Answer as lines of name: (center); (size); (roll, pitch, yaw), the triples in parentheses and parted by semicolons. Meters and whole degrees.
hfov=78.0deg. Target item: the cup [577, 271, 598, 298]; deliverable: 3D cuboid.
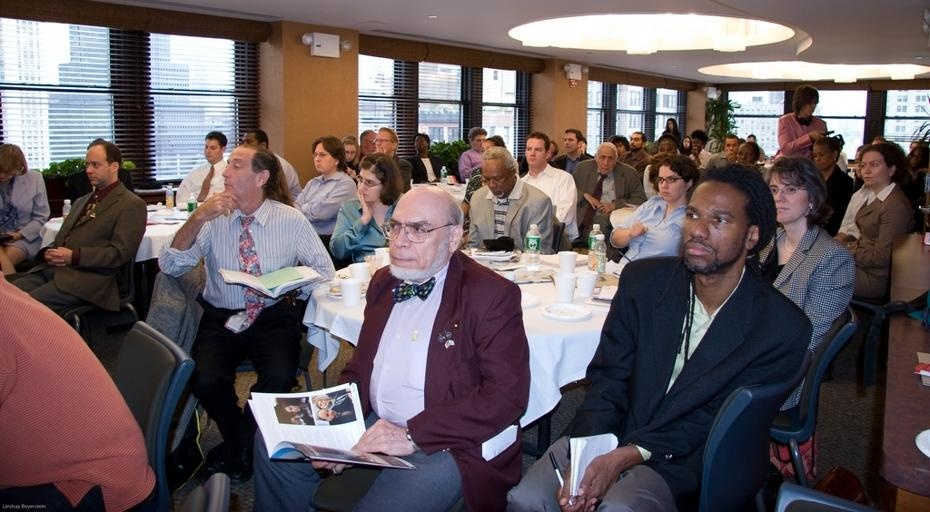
cup: (0.803, 0.192, 3.807); (0.160, 0.162, 0.157); (-1, 3, 0)

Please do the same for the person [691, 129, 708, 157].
person: (4.680, -2.273, 11.595); (0.282, 0.507, 1.061); (3, 11, 20)

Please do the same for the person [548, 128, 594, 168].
person: (1.744, -1.648, 9.099); (0.408, 0.710, 0.781); (-5, 12, -36)

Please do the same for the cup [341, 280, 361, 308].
cup: (-0.725, 0.230, 3.674); (0.157, 0.159, 0.159); (-1, -1, 0)

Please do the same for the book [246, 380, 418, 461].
book: (-0.756, 0.826, 2.853); (0.467, 0.196, 0.499); (2, 25, -31)

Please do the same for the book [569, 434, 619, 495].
book: (0.607, 0.992, 2.716); (0.273, 0.245, 0.048); (3, -3, -32)

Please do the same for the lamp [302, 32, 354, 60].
lamp: (-2.150, -3.302, 9.041); (0.862, 0.351, 0.131); (-9, 13, -39)

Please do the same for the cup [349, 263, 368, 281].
cup: (-0.718, 0.102, 3.888); (0.101, 0.087, 0.123); (-1, -1, -2)

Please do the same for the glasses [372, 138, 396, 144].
glasses: (-1.145, -1.655, 8.317); (0.277, 0.083, 0.226); (-2, 10, -7)

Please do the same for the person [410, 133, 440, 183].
person: (-0.660, -1.714, 9.947); (0.509, 0.819, 1.437); (-2, 10, -3)

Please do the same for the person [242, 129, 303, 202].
person: (-2.690, -1.217, 7.810); (1.041, 1.009, 0.575); (12, 22, 34)

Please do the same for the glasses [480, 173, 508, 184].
glasses: (0.298, -0.707, 5.351); (0.261, 0.146, 0.142); (0, 10, 6)

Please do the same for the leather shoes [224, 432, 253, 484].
leather shoes: (-1.477, 1.360, 3.824); (0.147, 0.168, 0.384); (3, 0, -7)

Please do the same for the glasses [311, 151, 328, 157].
glasses: (-1.663, -1.178, 6.631); (0.146, 0.057, 0.192); (1, -2, 39)

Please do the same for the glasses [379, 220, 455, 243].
glasses: (-0.242, -0.133, 3.087); (0.231, 0.067, 0.243); (0, 0, 32)

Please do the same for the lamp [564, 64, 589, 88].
lamp: (2.460, -4.019, 12.827); (0.722, 0.495, 0.128); (-10, 14, -42)

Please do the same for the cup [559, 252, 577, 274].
cup: (0.731, 0.053, 4.149); (0.143, 0.144, 0.140); (-1, 2, 0)

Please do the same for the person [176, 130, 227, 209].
person: (-3.203, -1.007, 7.180); (0.759, 1.010, 0.604); (7, 11, 7)

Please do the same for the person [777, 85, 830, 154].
person: (4.443, -1.785, 7.563); (0.555, 0.934, 0.734); (4, 12, 28)
